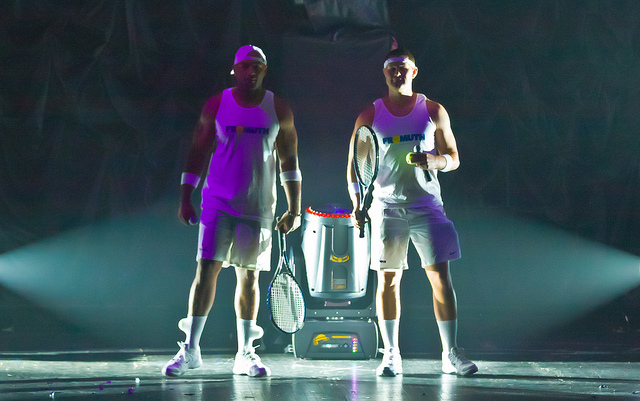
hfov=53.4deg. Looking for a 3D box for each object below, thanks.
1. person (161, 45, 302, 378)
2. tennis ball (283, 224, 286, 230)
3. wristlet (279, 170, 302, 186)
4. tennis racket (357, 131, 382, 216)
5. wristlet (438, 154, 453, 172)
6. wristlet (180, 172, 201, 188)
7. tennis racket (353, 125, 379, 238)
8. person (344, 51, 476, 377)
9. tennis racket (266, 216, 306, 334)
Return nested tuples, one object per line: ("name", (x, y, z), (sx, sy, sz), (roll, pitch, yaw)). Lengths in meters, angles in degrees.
("person", (-0.739, 0.083, 5.718), (1.118, 2.977, 0.440), (1, 2, -3))
("tennis ball", (-0.321, 0.242, 5.795), (0.040, 0.056, 0.014), (4, -1, 14))
("wristlet", (-0.271, -0.208, 5.898), (0.143, 0.091, 0.148), (-2, 0, 19))
("tennis racket", (0.446, -0.276, 5.797), (0.170, 0.720, 0.357), (0, 2, -21))
("wristlet", (1.171, -0.349, 5.860), (0.101, 0.135, 0.134), (-11, 9, -42))
("wristlet", (-1.182, -0.192, 5.781), (0.149, 0.103, 0.147), (9, -11, -20))
("tennis racket", (0.411, -0.262, 5.795), (0.219, 0.872, 0.333), (1, 2, 2))
("person", (0.828, 0.091, 6.380), (1.105, 3.017, 1.520), (1, 2, 2))
("tennis racket", (-0.285, 0.677, 5.674), (0.314, 1.005, 0.297), (1, 2, 7))
